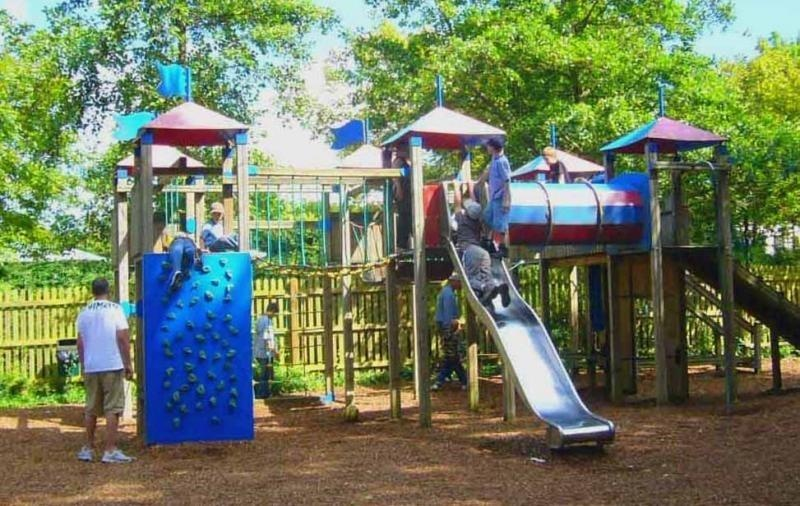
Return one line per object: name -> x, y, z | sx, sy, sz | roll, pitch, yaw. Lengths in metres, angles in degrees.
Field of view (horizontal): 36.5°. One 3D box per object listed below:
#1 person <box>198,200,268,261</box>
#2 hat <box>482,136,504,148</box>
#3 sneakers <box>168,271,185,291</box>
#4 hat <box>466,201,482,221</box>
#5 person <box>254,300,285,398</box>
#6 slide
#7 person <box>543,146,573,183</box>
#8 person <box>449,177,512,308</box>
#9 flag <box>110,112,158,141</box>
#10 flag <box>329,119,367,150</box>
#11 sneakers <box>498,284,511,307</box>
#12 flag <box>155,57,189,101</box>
person -> -4.079, -0.534, 29.672 | 1.430, 1.191, 0.877 | 3, 5, 18
hat -> 2.325, -2.696, 29.561 | 0.326, 0.373, 0.412 | 3, 10, -4
sneakers -> -5.185, 0.670, 28.289 | 0.216, 0.486, 0.210 | 7, -25, 36
hat -> 1.810, -1.015, 29.608 | 0.307, 0.434, 0.160 | 6, -23, -17
person -> -3.690, 2.724, 33.870 | 0.696, 2.588, 1.553 | -3, 10, -7
slide -> 3.129, 2.347, 28.131 | 1.548, 3.672, 3.906 | -8, 12, -32
person -> 4.225, -2.380, 32.861 | 0.652, 1.023, 1.816 | -1, 10, 8
person -> 1.801, -0.203, 29.462 | 0.908, 3.150, 1.045 | 4, -35, -27
flag -> -6.625, -3.122, 30.349 | 0.879, 0.741, 2.538 | -5, 10, -19
flag -> -1.396, -3.232, 33.420 | 0.990, 0.816, 0.766 | -2, 10, -3
sneakers -> 2.505, 1.046, 28.916 | 0.215, 0.605, 0.250 | -2, 20, 1
flag -> -5.449, -4.175, 30.029 | 1.196, 1.224, 0.368 | 1, 0, 0
